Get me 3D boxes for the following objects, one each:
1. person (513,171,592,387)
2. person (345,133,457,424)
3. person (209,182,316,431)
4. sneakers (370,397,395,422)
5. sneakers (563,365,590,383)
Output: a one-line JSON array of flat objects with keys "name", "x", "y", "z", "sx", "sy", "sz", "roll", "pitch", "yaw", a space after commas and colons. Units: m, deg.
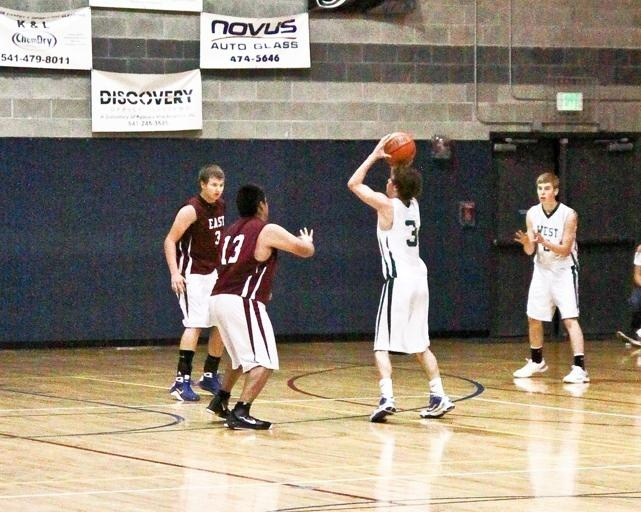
[{"name": "person", "x": 2.327, "y": 0.212, "z": 9.595, "sx": 0.726, "sy": 2.065, "sz": 1.457, "roll": 0, "pitch": 6, "yaw": 14}, {"name": "person", "x": 0.552, "y": 0.190, "z": 7.518, "sx": 0.458, "sy": 2.159, "sz": 0.617, "roll": 4, "pitch": 7, "yaw": 43}, {"name": "person", "x": -0.486, "y": 0.379, "z": 7.172, "sx": 0.829, "sy": 1.812, "sz": 0.412, "roll": 0, "pitch": 5, "yaw": 7}, {"name": "sneakers", "x": 0.478, "y": 1.190, "z": 7.391, "sx": 0.101, "sy": 0.136, "sz": 0.290, "roll": 12, "pitch": -28, "yaw": -8}, {"name": "sneakers", "x": 2.489, "y": 1.137, "z": 9.251, "sx": 0.128, "sy": 0.145, "sz": 0.263, "roll": -6, "pitch": -9, "yaw": 36}]
